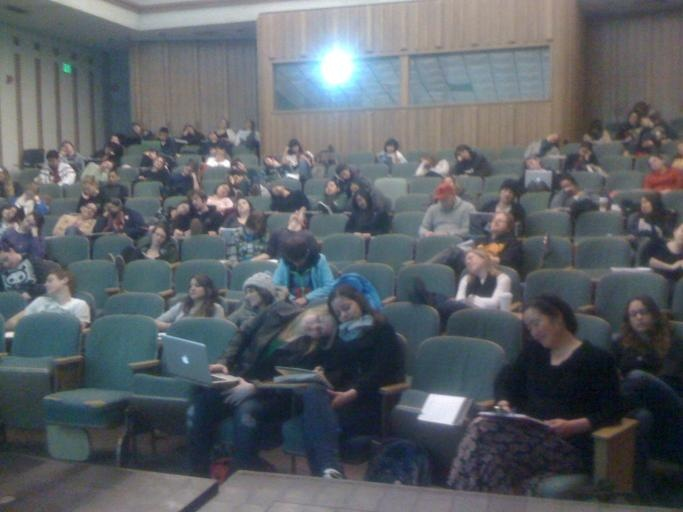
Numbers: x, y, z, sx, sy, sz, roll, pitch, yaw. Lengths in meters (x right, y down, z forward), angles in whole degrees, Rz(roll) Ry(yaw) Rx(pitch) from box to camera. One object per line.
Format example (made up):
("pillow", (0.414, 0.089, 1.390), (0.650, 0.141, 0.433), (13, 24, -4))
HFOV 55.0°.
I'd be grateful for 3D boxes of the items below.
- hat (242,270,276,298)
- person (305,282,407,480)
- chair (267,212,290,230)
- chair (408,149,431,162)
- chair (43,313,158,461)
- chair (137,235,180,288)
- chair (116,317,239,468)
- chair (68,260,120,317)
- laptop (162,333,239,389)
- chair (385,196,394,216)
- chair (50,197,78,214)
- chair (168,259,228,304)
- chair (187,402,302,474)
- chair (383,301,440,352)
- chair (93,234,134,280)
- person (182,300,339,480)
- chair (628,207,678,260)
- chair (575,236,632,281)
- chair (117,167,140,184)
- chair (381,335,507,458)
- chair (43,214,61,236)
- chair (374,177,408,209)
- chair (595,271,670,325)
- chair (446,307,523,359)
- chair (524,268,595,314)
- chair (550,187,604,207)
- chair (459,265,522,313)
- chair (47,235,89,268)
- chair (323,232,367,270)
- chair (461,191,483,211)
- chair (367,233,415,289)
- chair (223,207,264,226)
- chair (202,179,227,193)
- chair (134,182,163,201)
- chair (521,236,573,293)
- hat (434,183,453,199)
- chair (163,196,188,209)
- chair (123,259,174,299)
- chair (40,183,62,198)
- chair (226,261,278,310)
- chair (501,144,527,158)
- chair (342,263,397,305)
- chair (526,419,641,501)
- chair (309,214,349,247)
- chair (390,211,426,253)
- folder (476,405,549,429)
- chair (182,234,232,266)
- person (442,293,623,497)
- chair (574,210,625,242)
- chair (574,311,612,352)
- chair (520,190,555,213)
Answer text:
("hat", (-0.437, 0.144, 3.486), (0.145, 0.123, 0.111), (6, 1, -14))
("person", (0.003, 0.566, 3.030), (0.433, 0.907, 0.498), (17, 27, 39))
("chair", (-0.495, -0.260, 5.038), (0.138, 0.109, 0.142), (-1, -7, 28))
("chair", (0.838, -1.117, 7.267), (0.159, 0.128, 0.162), (4, 7, 44))
("chair", (-1.212, 0.654, 3.529), (0.618, 0.850, 0.674), (0, -5, 13))
("chair", (-1.260, 0.020, 4.649), (0.279, 0.405, 0.320), (1, -3, -3))
("chair", (-0.859, 0.623, 3.181), (0.531, 0.801, 0.654), (1, -6, 8))
("chair", (-1.651, 0.209, 4.419), (0.295, 0.405, 0.330), (0, -9, -13))
("laptop", (-0.681, 0.466, 3.056), (0.313, 0.207, 0.235), (13, 20, 34))
("chair", (0.381, -0.420, 5.322), (0.095, 0.138, 0.131), (-8, -5, 0))
("chair", (-2.432, -0.431, 5.741), (0.168, 0.240, 0.190), (2, -6, -10))
("chair", (-0.946, 0.166, 4.281), (0.279, 0.360, 0.287), (0, -5, 4))
("chair", (-0.465, 0.785, 3.001), (0.379, 0.474, 0.332), (14, -18, -30))
("chair", (0.372, 0.373, 3.363), (0.209, 0.291, 0.249), (-11, -10, 11))
("chair", (-1.681, -0.007, 4.736), (0.294, 0.422, 0.333), (1, -5, -12))
("person", (-0.440, 0.652, 3.200), (0.518, 0.893, 0.540), (6, 5, -36))
("chair", (1.935, -0.158, 4.063), (0.266, 0.408, 0.206), (8, -11, -2))
("chair", (1.596, 0.033, 4.116), (0.245, 0.364, 0.313), (-1, -6, 10))
("chair", (-2.251, -0.847, 6.943), (0.184, 0.251, 0.199), (1, -1, -10))
("chair", (0.423, 0.646, 2.853), (0.507, 0.556, 0.487), (7, 4, 4))
("chair", (-2.318, -0.247, 5.297), (0.116, 0.165, 0.136), (0, -8, -7))
("chair", (0.456, -0.622, 6.054), (0.298, 0.430, 0.342), (0, -5, 6))
("chair", (1.537, 0.218, 3.480), (0.260, 0.386, 0.325), (-2, -8, 27))
("chair", (0.688, 0.402, 3.150), (0.246, 0.299, 0.253), (-5, -13, 29))
("chair", (1.216, 0.189, 3.701), (0.309, 0.394, 0.319), (-2, -6, 28))
("chair", (1.726, -0.438, 4.946), (0.205, 0.109, 0.245), (2, 5, 45))
("chair", (0.800, 0.195, 3.616), (0.236, 0.291, 0.254), (-10, -23, 38))
("chair", (-2.057, -0.020, 4.984), (0.211, 0.318, 0.257), (0, -8, -13))
("chair", (0.013, -0.048, 4.667), (0.245, 0.314, 0.257), (0, -4, 3))
("chair", (1.035, -0.465, 5.256), (0.157, 0.221, 0.187), (-1, -5, 9))
("chair", (0.351, -0.085, 4.687), (0.342, 0.424, 0.330), (-2, -11, 11))
("chair", (-0.737, -0.303, 4.872), (0.220, 0.160, 0.504), (-10, 11, -27))
("chair", (-1.220, -0.679, 6.294), (0.208, 0.169, 0.219), (0, 3, 12))
("chair", (-1.875, -0.640, 6.369), (0.225, 0.310, 0.246), (1, 0, -7))
("chair", (1.253, 0.045, 4.109), (0.286, 0.334, 0.376), (10, 18, 39))
("hat", (0.764, -0.497, 4.872), (0.098, 0.076, 0.138), (-15, 4, 37))
("chair", (-1.489, -0.488, 5.807), (0.200, 0.158, 0.214), (0, 3, 5))
("chair", (-1.314, 0.166, 4.477), (0.260, 0.346, 0.286), (1, -6, -2))
("chair", (-2.833, -0.627, 6.392), (0.150, 0.200, 0.159), (-4, 6, -35))
("chair", (-0.613, 0.178, 4.253), (0.242, 0.362, 0.305), (0, -7, 13))
("chair", (1.820, -1.108, 7.008), (0.166, 0.144, 0.165), (-3, -5, 30))
("chair", (0.169, 0.172, 4.038), (0.222, 0.319, 0.249), (-1, -5, 14))
("chair", (1.038, 0.878, 2.645), (0.293, 0.411, 0.266), (16, -25, -34))
("chair", (-0.101, -0.203, 5.128), (0.221, 0.320, 0.255), (0, 0, 6))
("chair", (0.501, -0.219, 5.087), (0.209, 0.300, 0.238), (1, -3, 11))
("folder", (0.672, 0.638, 2.634), (0.126, 0.037, 0.123), (22, -17, -13))
("chair", (-1.015, -0.043, 4.797), (0.196, 0.293, 0.238), (1, -3, -6))
("person", (0.816, 0.705, 2.807), (0.670, 1.179, 0.508), (22, -22, -32))
("chair", (1.751, -0.213, 4.476), (0.213, 0.305, 0.257), (-1, -2, 14))
("chair", (1.174, 0.342, 3.069), (0.160, 0.227, 0.182), (3, 4, 44))
("chair", (1.469, -0.412, 4.955), (0.177, 0.224, 0.204), (0, -7, 28))
